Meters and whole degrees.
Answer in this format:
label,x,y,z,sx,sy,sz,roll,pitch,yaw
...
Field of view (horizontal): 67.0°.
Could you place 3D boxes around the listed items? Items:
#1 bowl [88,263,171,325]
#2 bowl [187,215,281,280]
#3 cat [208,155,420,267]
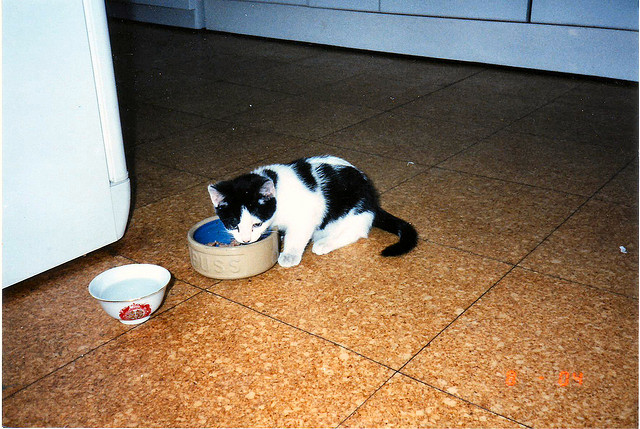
label,x,y,z,sx,sy,sz,roll,pitch,yaw
bowl,-0.964,0.437,2.501,0.449,0.184,0.420,-5,15,1
bowl,-0.481,0.252,2.811,0.468,0.167,0.431,1,30,0
cat,-0.015,-0.046,2.971,1.158,0.458,0.707,-13,33,-31
